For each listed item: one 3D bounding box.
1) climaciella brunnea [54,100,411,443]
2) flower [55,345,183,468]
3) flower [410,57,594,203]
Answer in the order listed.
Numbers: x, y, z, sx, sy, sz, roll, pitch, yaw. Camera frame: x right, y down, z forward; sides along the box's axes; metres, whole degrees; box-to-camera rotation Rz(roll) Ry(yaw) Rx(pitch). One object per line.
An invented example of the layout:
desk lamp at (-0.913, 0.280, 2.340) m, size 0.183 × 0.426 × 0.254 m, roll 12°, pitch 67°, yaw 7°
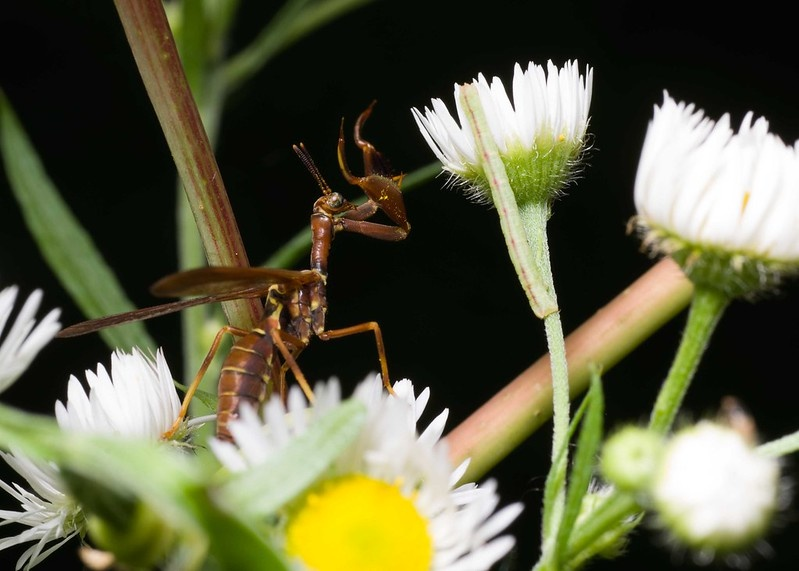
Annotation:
climaciella brunnea at (-0.110, 0.010, 0.650) m, size 0.309 × 0.251 × 0.129 m, roll -15°, pitch -1°, yaw -31°
flower at (-0.168, 0.077, 0.504) m, size 0.063 × 0.062 × 0.071 m, roll -11°, pitch 2°, yaw -19°
flower at (0.076, -0.098, 0.566) m, size 0.112 × 0.099 × 0.123 m, roll -6°, pitch 0°, yaw -9°
